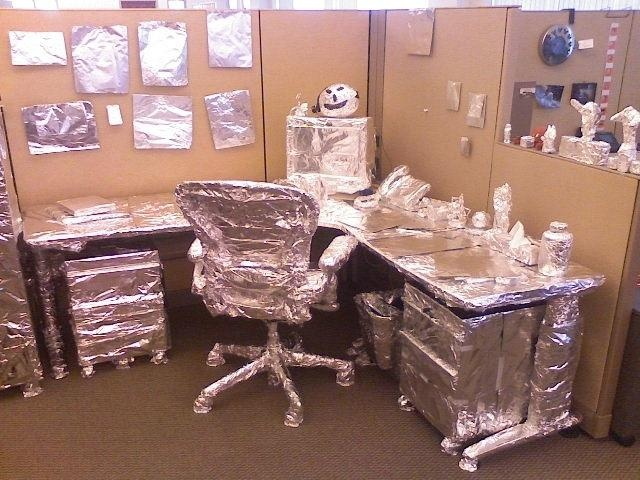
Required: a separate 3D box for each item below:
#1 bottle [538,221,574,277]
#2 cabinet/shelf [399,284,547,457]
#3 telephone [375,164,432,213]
[{"bbox_3d":[0.977,0.036,2.054,0.118,0.214,0.157,-3,22,-1],"label":"bottle"},{"bbox_3d":[0.612,0.597,2.164,0.595,0.689,0.322,7,25,22],"label":"cabinet/shelf"},{"bbox_3d":[0.519,-0.262,2.915,0.310,0.288,0.131,37,5,35],"label":"telephone"}]
